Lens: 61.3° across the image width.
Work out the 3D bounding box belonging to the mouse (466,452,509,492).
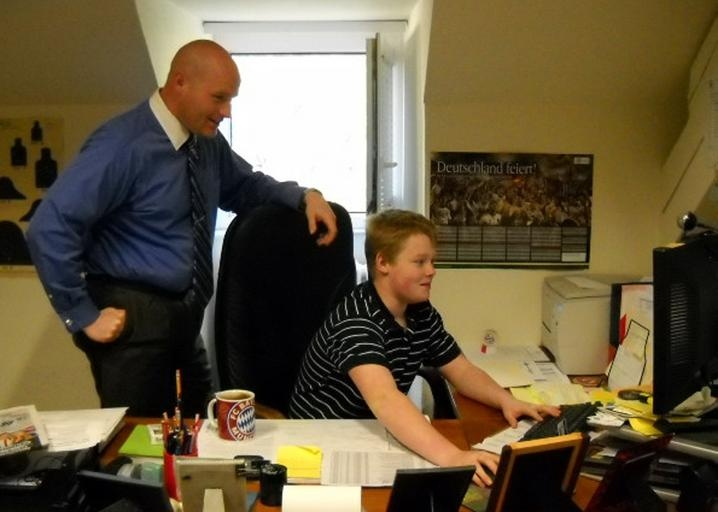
[{"bbox_3d":[0.328,0.566,1.572,0.069,0.079,0.091,2,2,11],"label":"mouse"}]

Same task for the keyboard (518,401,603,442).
[{"bbox_3d":[0.600,0.506,1.767,0.285,0.071,0.066,-24,-18,-8],"label":"keyboard"}]

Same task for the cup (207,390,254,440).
[{"bbox_3d":[-0.364,0.457,1.727,0.157,0.129,0.109,1,2,41],"label":"cup"}]

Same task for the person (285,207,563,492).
[{"bbox_3d":[0.235,0.194,1.969,0.852,0.743,0.683,0,7,30],"label":"person"}]

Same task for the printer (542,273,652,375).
[{"bbox_3d":[0.969,0.243,2.541,0.391,0.349,0.398,-1,11,-1],"label":"printer"}]

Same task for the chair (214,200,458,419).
[{"bbox_3d":[-0.082,0.116,2.658,0.735,1.314,0.804,-6,0,-26],"label":"chair"}]
